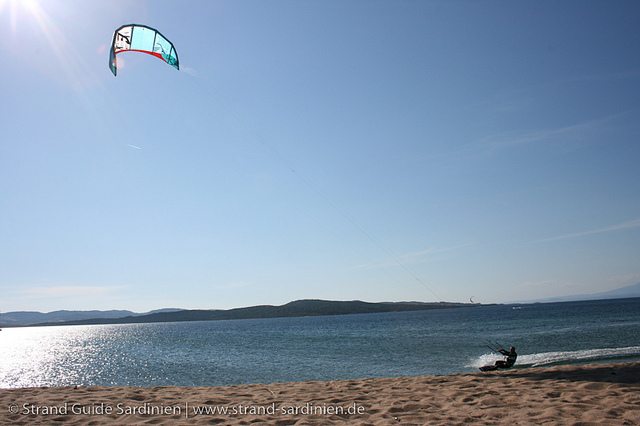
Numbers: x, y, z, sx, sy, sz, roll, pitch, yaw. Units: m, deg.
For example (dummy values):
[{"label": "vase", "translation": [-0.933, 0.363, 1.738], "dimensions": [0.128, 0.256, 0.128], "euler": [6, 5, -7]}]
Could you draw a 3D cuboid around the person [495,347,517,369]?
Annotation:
[{"label": "person", "translation": [11.092, 8.549, 25.767], "dimensions": [1.176, 1.164, 1.813], "euler": [-20, -21, 33]}]

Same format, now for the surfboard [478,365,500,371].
[{"label": "surfboard", "translation": [9.916, 9.210, 25.839], "dimensions": [0.781, 0.348, 1.084], "euler": [-12, -18, 13]}]
